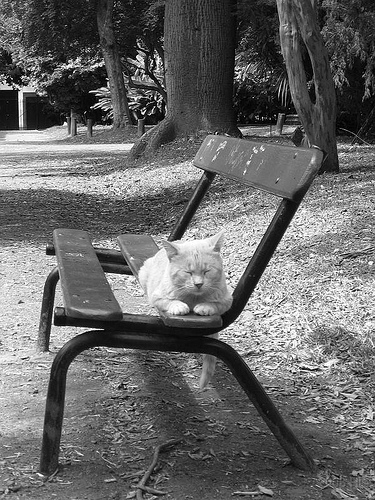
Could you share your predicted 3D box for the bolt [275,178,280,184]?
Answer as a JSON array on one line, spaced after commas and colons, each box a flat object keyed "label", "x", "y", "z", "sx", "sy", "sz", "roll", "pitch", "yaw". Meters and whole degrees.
[{"label": "bolt", "x": 0.340, "y": -0.263, "z": 1.722, "sx": 0.011, "sy": 0.018, "sz": 0.031, "roll": 3, "pitch": 7, "yaw": -2}]

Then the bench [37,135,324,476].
[{"label": "bench", "x": -0.225, "y": 0.122, "z": 2.271, "sx": 1.104, "sy": 1.065, "sz": 1.628, "roll": -3, "pitch": 11, "yaw": -13}]

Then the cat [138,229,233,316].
[{"label": "cat", "x": 0.007, "y": 0.072, "z": 1.772, "sx": 0.301, "sy": 0.302, "sz": 0.580, "roll": 2, "pitch": 7, "yaw": -10}]

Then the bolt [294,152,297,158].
[{"label": "bolt", "x": 0.396, "y": -0.348, "z": 1.671, "sx": 0.010, "sy": 0.015, "sz": 0.025, "roll": 0, "pitch": 24, "yaw": 0}]
